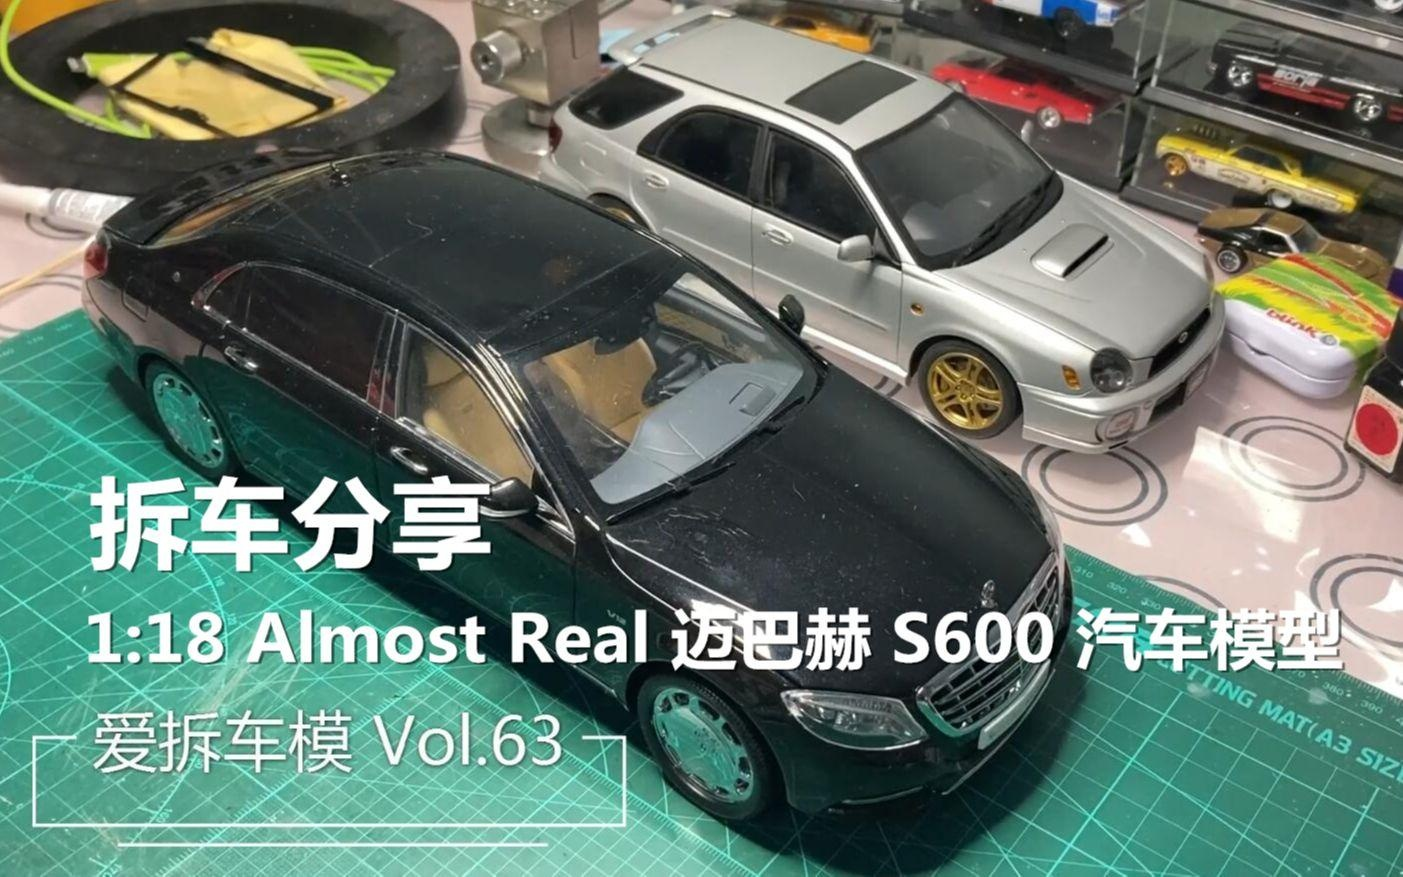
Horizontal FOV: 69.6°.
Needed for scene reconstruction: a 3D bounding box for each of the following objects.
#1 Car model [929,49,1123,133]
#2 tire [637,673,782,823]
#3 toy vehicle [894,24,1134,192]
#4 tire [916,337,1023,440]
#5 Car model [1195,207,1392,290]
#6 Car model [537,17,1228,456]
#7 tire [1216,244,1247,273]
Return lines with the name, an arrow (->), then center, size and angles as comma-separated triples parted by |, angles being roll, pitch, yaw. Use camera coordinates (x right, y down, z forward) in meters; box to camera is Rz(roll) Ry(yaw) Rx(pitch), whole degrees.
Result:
Car model -> 3.010, -3.313, 9.493 | 1.356, 0.383, 0.778 | 26, 46, 10
tire -> 0.069, 1.663, 5.464 | 0.664, 0.703, 0.263 | 25, 41, 20
toy vehicle -> 2.965, -3.100, 9.810 | 2.095, 0.566, 1.270 | 28, 49, 12
tire -> 1.926, -0.378, 7.212 | 0.506, 0.530, 0.169 | 31, 43, 22
Car model -> 4.912, -1.577, 8.472 | 1.255, 0.380, 0.731 | 22, 55, 23
Car model -> 1.088, -1.593, 8.466 | 5.529, 1.865, 2.449 | 32, 57, 19
tire -> 4.493, -1.523, 8.554 | 0.205, 0.217, 0.094 | 25, 36, 18
